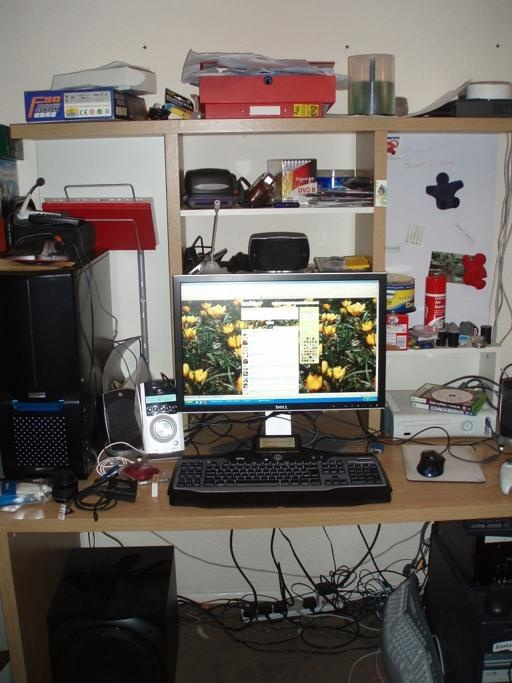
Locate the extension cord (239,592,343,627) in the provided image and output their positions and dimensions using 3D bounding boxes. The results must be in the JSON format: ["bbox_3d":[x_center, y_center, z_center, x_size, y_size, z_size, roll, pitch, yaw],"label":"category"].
[{"bbox_3d":[0.123,0.900,2.008,0.428,0.107,0.114,4,7,-6],"label":"extension cord"}]

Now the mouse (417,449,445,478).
[{"bbox_3d":[0.412,0.286,1.375,0.061,0.044,0.081,4,13,18],"label":"mouse"}]

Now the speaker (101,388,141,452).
[{"bbox_3d":[-0.341,0.199,1.494,0.081,0.147,0.102,-4,18,-12],"label":"speaker"}]

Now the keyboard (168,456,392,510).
[{"bbox_3d":[0.052,0.314,1.316,0.485,0.045,0.177,0,13,2],"label":"keyboard"}]

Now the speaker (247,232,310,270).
[{"bbox_3d":[0.054,-0.236,1.523,0.125,0.106,0.154,-2,13,-5],"label":"speaker"}]

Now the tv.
[{"bbox_3d":[0.059,0.006,1.424,0.516,0.340,0.033,-1,12,-2],"label":"tv"}]

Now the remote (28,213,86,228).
[{"bbox_3d":[-0.490,-0.295,1.418,0.140,0.036,0.079,0,13,3],"label":"remote"}]
